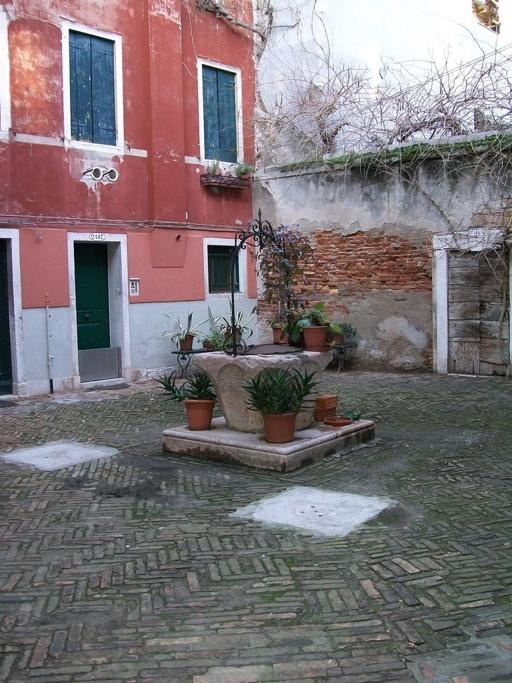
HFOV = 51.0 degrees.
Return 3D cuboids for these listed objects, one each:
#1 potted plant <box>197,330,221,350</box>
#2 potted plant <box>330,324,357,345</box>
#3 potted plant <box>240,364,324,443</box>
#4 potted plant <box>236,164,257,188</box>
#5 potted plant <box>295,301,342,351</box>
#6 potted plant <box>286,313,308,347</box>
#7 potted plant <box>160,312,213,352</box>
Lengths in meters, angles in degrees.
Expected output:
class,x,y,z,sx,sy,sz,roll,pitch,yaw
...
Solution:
class,x,y,z,sx,sy,sz,roll,pitch,yaw
potted plant,-0.907,-0.015,11.222,0.419,0.274,0.396,1,-8,-1
potted plant,1.751,-0.154,10.706,0.448,0.292,0.460,1,3,45
potted plant,0.224,0.594,5.175,0.776,0.744,0.693,0,-7,-1
potted plant,-0.225,-3.731,11.966,0.503,0.412,0.607,1,4,12
potted plant,1.017,-0.232,8.673,0.752,0.699,1.039,5,-7,-41
potted plant,0.586,-0.177,8.894,0.332,0.465,0.485,4,15,-16
potted plant,-1.412,-0.195,11.001,0.816,0.547,0.826,1,0,34
